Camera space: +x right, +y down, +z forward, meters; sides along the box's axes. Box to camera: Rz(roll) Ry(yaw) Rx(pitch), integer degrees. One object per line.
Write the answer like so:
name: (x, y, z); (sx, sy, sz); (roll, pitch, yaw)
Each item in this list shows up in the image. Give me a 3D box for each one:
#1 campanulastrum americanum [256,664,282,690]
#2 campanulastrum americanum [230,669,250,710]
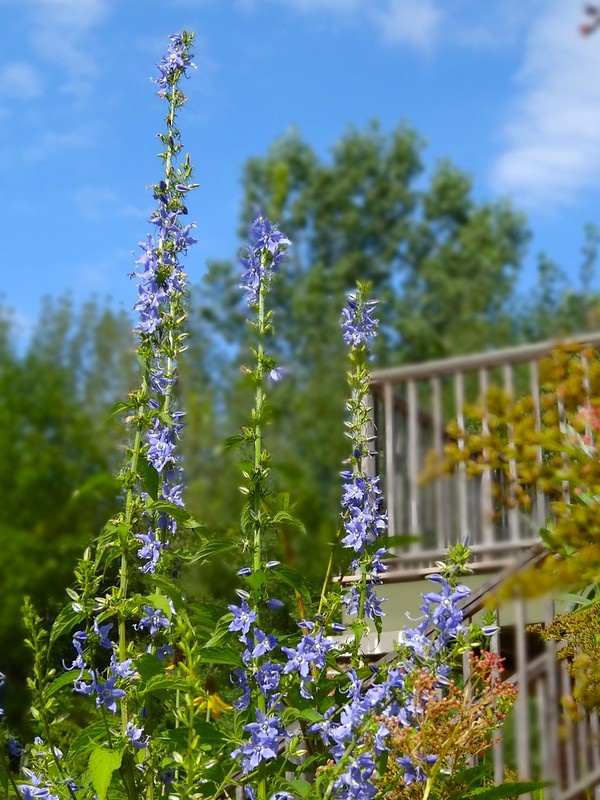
campanulastrum americanum: (-0.356, 3.001, 21.502); (0.272, 0.272, 0.177); (0, -5, -6)
campanulastrum americanum: (-0.665, 3.156, 21.598); (0.134, 0.455, 0.255); (2, -9, -34)
